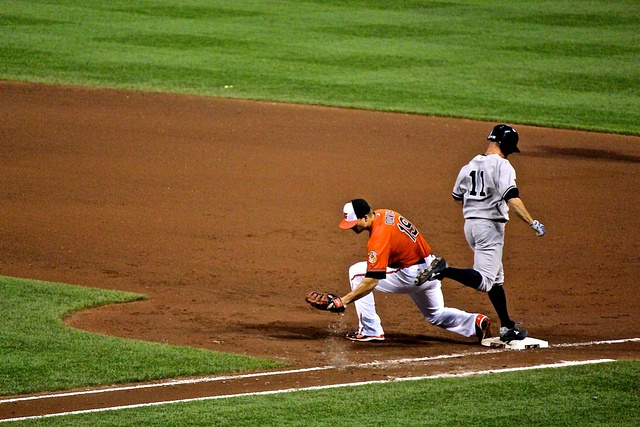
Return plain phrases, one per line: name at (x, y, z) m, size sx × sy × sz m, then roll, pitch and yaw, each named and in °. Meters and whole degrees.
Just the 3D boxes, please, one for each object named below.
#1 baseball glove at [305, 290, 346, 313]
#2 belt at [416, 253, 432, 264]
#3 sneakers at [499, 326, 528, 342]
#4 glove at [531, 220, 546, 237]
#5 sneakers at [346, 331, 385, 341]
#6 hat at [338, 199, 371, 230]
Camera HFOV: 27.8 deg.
baseball glove at (0.070, 1.649, 24.335) m, size 0.641 × 0.239 × 0.353 m, roll 15°, pitch 3°, yaw -7°
belt at (1.979, 0.898, 24.881) m, size 0.349 × 0.255 × 0.175 m, roll 1°, pitch 45°, yaw -14°
sneakers at (3.705, 2.299, 24.925) m, size 0.473 × 0.205 × 0.243 m, roll -4°, pitch 7°, yaw -5°
glove at (4.345, 0.293, 25.852) m, size 0.357 × 0.138 × 0.156 m, roll 42°, pitch 29°, yaw -3°
sneakers at (0.862, 2.405, 25.162) m, size 0.727 × 0.268 × 0.248 m, roll 5°, pitch -3°, yaw 3°
hat at (0.579, 0.001, 24.672) m, size 0.658 × 0.351 × 0.426 m, roll -38°, pitch 25°, yaw -6°
